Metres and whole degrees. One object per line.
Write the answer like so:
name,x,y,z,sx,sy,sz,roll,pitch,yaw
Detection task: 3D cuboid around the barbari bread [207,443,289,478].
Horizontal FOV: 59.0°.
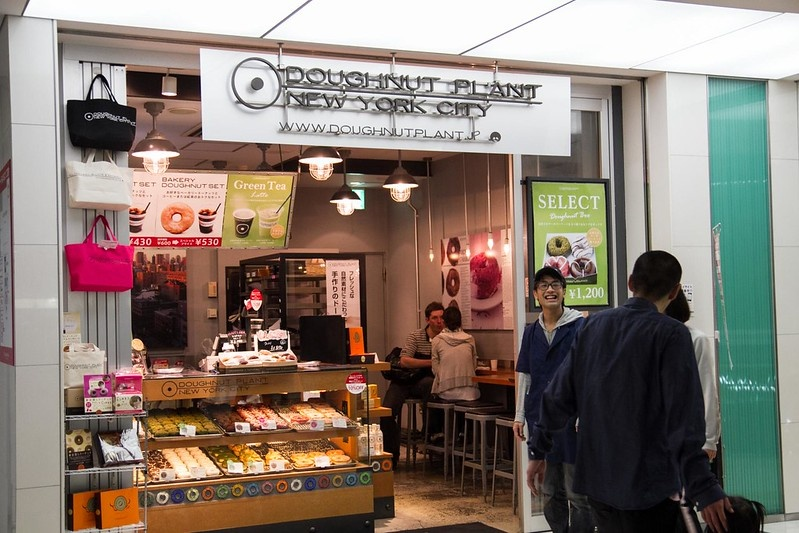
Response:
barbari bread,-1.400,1.716,6.491,0.760,0.198,0.589,2,-1,-23

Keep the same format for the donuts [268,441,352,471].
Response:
donuts,-0.819,1.697,6.599,0.681,0.212,0.499,1,1,-28

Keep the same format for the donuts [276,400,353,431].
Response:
donuts,-0.794,1.403,6.598,0.661,0.213,0.342,-2,1,-22

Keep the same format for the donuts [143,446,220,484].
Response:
donuts,-1.897,1.733,6.252,0.610,0.149,0.446,-2,1,-20

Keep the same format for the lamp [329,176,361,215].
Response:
lamp,-0.733,-1.066,9.588,0.479,0.715,0.467,-1,1,-7

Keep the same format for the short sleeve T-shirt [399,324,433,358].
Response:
short sleeve T-shirt,0.222,1.075,9.679,0.565,0.430,0.303,19,-10,-24

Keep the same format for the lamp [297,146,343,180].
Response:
lamp,-0.830,-1.073,7.514,0.469,0.374,0.462,1,1,-11

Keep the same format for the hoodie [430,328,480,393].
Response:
hoodie,0.701,1.235,8.761,0.758,0.959,0.657,0,1,-2

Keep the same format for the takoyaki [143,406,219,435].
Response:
takoyaki,-1.913,1.380,6.293,0.670,0.221,0.305,-1,1,-7
